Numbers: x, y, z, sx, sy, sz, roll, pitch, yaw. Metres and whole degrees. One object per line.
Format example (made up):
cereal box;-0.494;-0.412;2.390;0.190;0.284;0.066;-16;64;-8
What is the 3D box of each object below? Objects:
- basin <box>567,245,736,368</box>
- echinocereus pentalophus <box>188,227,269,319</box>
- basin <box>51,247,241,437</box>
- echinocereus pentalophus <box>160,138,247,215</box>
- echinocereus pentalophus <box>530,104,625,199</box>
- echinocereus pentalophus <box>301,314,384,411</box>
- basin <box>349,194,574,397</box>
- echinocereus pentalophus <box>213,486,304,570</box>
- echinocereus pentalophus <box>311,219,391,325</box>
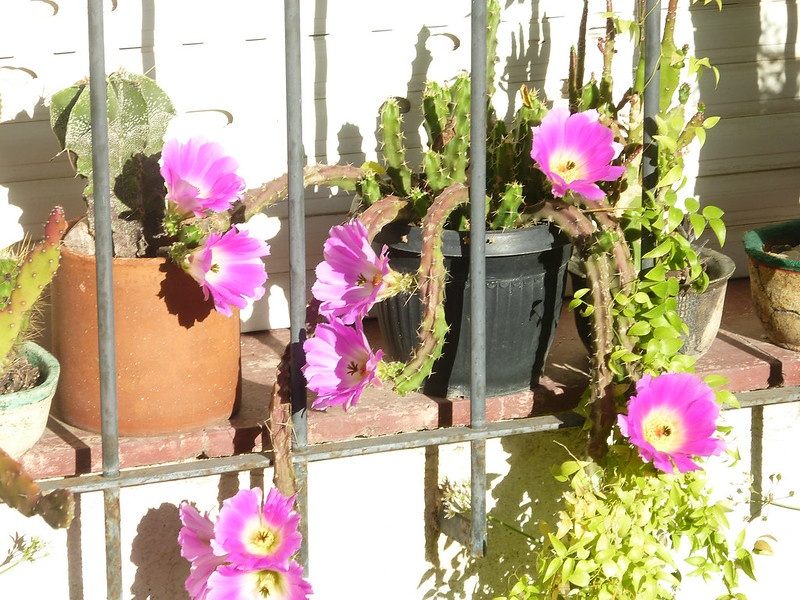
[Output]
basin;0.690;0.025;1.863;0.342;0.243;0.340;-2;23;1
echinocereus pentalophus;-0.325;-0.056;1.387;0.137;0.161;0.164;2;13;33
basin;-0.536;0.083;1.647;0.355;0.336;0.394;5;12;2
echinocereus pentalophus;-0.420;-0.248;1.443;0.168;0.092;0.195;-1;-22;7
echinocereus pentalophus;0.375;-0.296;1.460;0.148;0.191;0.218;6;11;43
echinocereus pentalophus;-0.109;0.124;1.348;0.145;0.163;0.104;-2;8;-6
basin;0.150;-0.008;1.589;0.398;0.313;0.414;0;13;0
echinocereus pentalophus;-0.256;0.419;1.315;0.157;0.135;0.066;-1;8;5
echinocereus pentalophus;-0.089;-0.051;1.410;0.173;0.194;0.081;4;0;28
